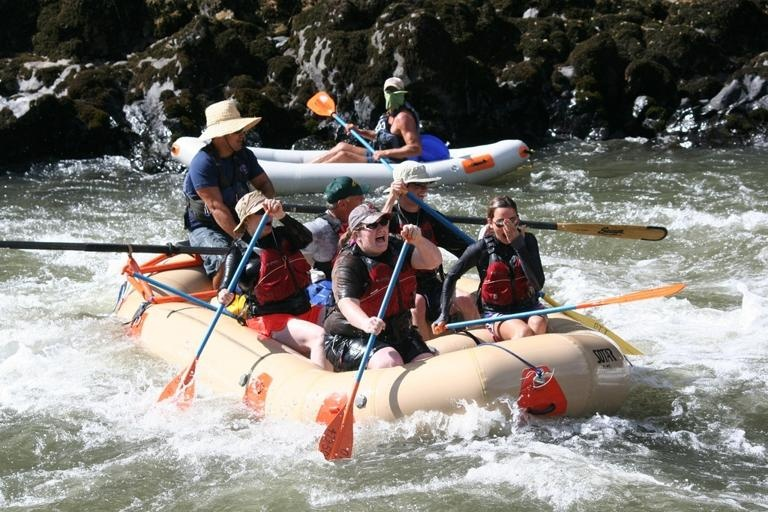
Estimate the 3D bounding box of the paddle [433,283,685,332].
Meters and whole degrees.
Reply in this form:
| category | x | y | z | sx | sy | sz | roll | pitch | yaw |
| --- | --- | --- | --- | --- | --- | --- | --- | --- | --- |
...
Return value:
| category | x | y | z | sx | sy | sz | roll | pitch | yaw |
| --- | --- | --- | --- | --- | --- | --- | --- | --- | --- |
| paddle | 1.913 | 0.589 | 9.147 | 2.373 | 0.242 | 0.134 | -10 | -22 | 11 |

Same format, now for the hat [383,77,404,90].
| category | x | y | z | sx | sy | sz | roll | pitch | yaw |
| --- | --- | --- | --- | --- | --- | --- | --- | --- | --- |
| hat | 0.179 | -2.546 | 12.519 | 0.246 | 0.155 | 0.264 | 3 | 15 | 13 |

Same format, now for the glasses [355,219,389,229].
| category | x | y | z | sx | sy | sz | roll | pitch | yaw |
| --- | --- | --- | --- | --- | --- | --- | --- | --- | --- |
| glasses | -0.092 | -0.303 | 8.197 | 0.170 | 0.047 | 0.168 | -22 | -7 | 40 |

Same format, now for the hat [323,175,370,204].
| category | x | y | z | sx | sy | sz | roll | pitch | yaw |
| --- | --- | --- | --- | --- | --- | --- | --- | --- | --- |
| hat | -0.416 | -0.711 | 9.113 | 0.378 | 0.216 | 0.255 | -20 | 22 | -3 |

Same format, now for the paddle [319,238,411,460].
| category | x | y | z | sx | sy | sz | roll | pitch | yaw |
| --- | --- | --- | --- | --- | --- | --- | --- | --- | --- |
| paddle | -0.202 | 1.114 | 8.040 | 0.328 | 1.784 | 0.075 | 12 | -26 | 20 |

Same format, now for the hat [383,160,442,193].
| category | x | y | z | sx | sy | sz | roll | pitch | yaw |
| --- | --- | --- | --- | --- | --- | --- | --- | --- | --- |
| hat | 0.306 | -0.877 | 9.106 | 0.536 | 0.216 | 0.383 | -6 | 4 | 11 |

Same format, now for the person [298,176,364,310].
| category | x | y | z | sx | sy | sz | roll | pitch | yaw |
| --- | --- | --- | --- | --- | --- | --- | --- | --- | --- |
| person | -0.547 | -0.083 | 8.939 | 0.457 | 1.413 | 1.282 | 5 | 40 | 9 |

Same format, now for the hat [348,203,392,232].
| category | x | y | z | sx | sy | sz | roll | pitch | yaw |
| --- | --- | --- | --- | --- | --- | --- | --- | --- | --- |
| hat | -0.141 | -0.375 | 8.186 | 0.360 | 0.180 | 0.234 | -31 | -8 | 28 |

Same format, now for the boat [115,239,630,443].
| category | x | y | z | sx | sy | sz | roll | pitch | yaw |
| --- | --- | --- | --- | --- | --- | --- | --- | --- | --- |
| boat | -0.447 | 1.076 | 8.456 | 3.653 | 0.734 | 2.166 | 10 | 15 | 37 |

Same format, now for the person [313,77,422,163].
| category | x | y | z | sx | sy | sz | roll | pitch | yaw |
| --- | --- | --- | --- | --- | --- | --- | --- | --- | --- |
| person | 0.066 | -1.908 | 12.814 | 2.060 | 1.146 | 1.205 | -4 | 33 | 1 |

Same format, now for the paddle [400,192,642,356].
| category | x | y | z | sx | sy | sz | roll | pitch | yaw |
| --- | --- | --- | --- | --- | --- | --- | --- | --- | --- |
| paddle | 1.597 | 0.261 | 9.459 | 3.417 | 0.369 | 0.167 | 33 | 54 | 8 |

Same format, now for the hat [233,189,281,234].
| category | x | y | z | sx | sy | sz | roll | pitch | yaw |
| --- | --- | --- | --- | --- | --- | --- | --- | --- | --- |
| hat | -1.381 | -0.517 | 8.753 | 0.442 | 0.261 | 0.531 | -33 | -3 | -19 |
